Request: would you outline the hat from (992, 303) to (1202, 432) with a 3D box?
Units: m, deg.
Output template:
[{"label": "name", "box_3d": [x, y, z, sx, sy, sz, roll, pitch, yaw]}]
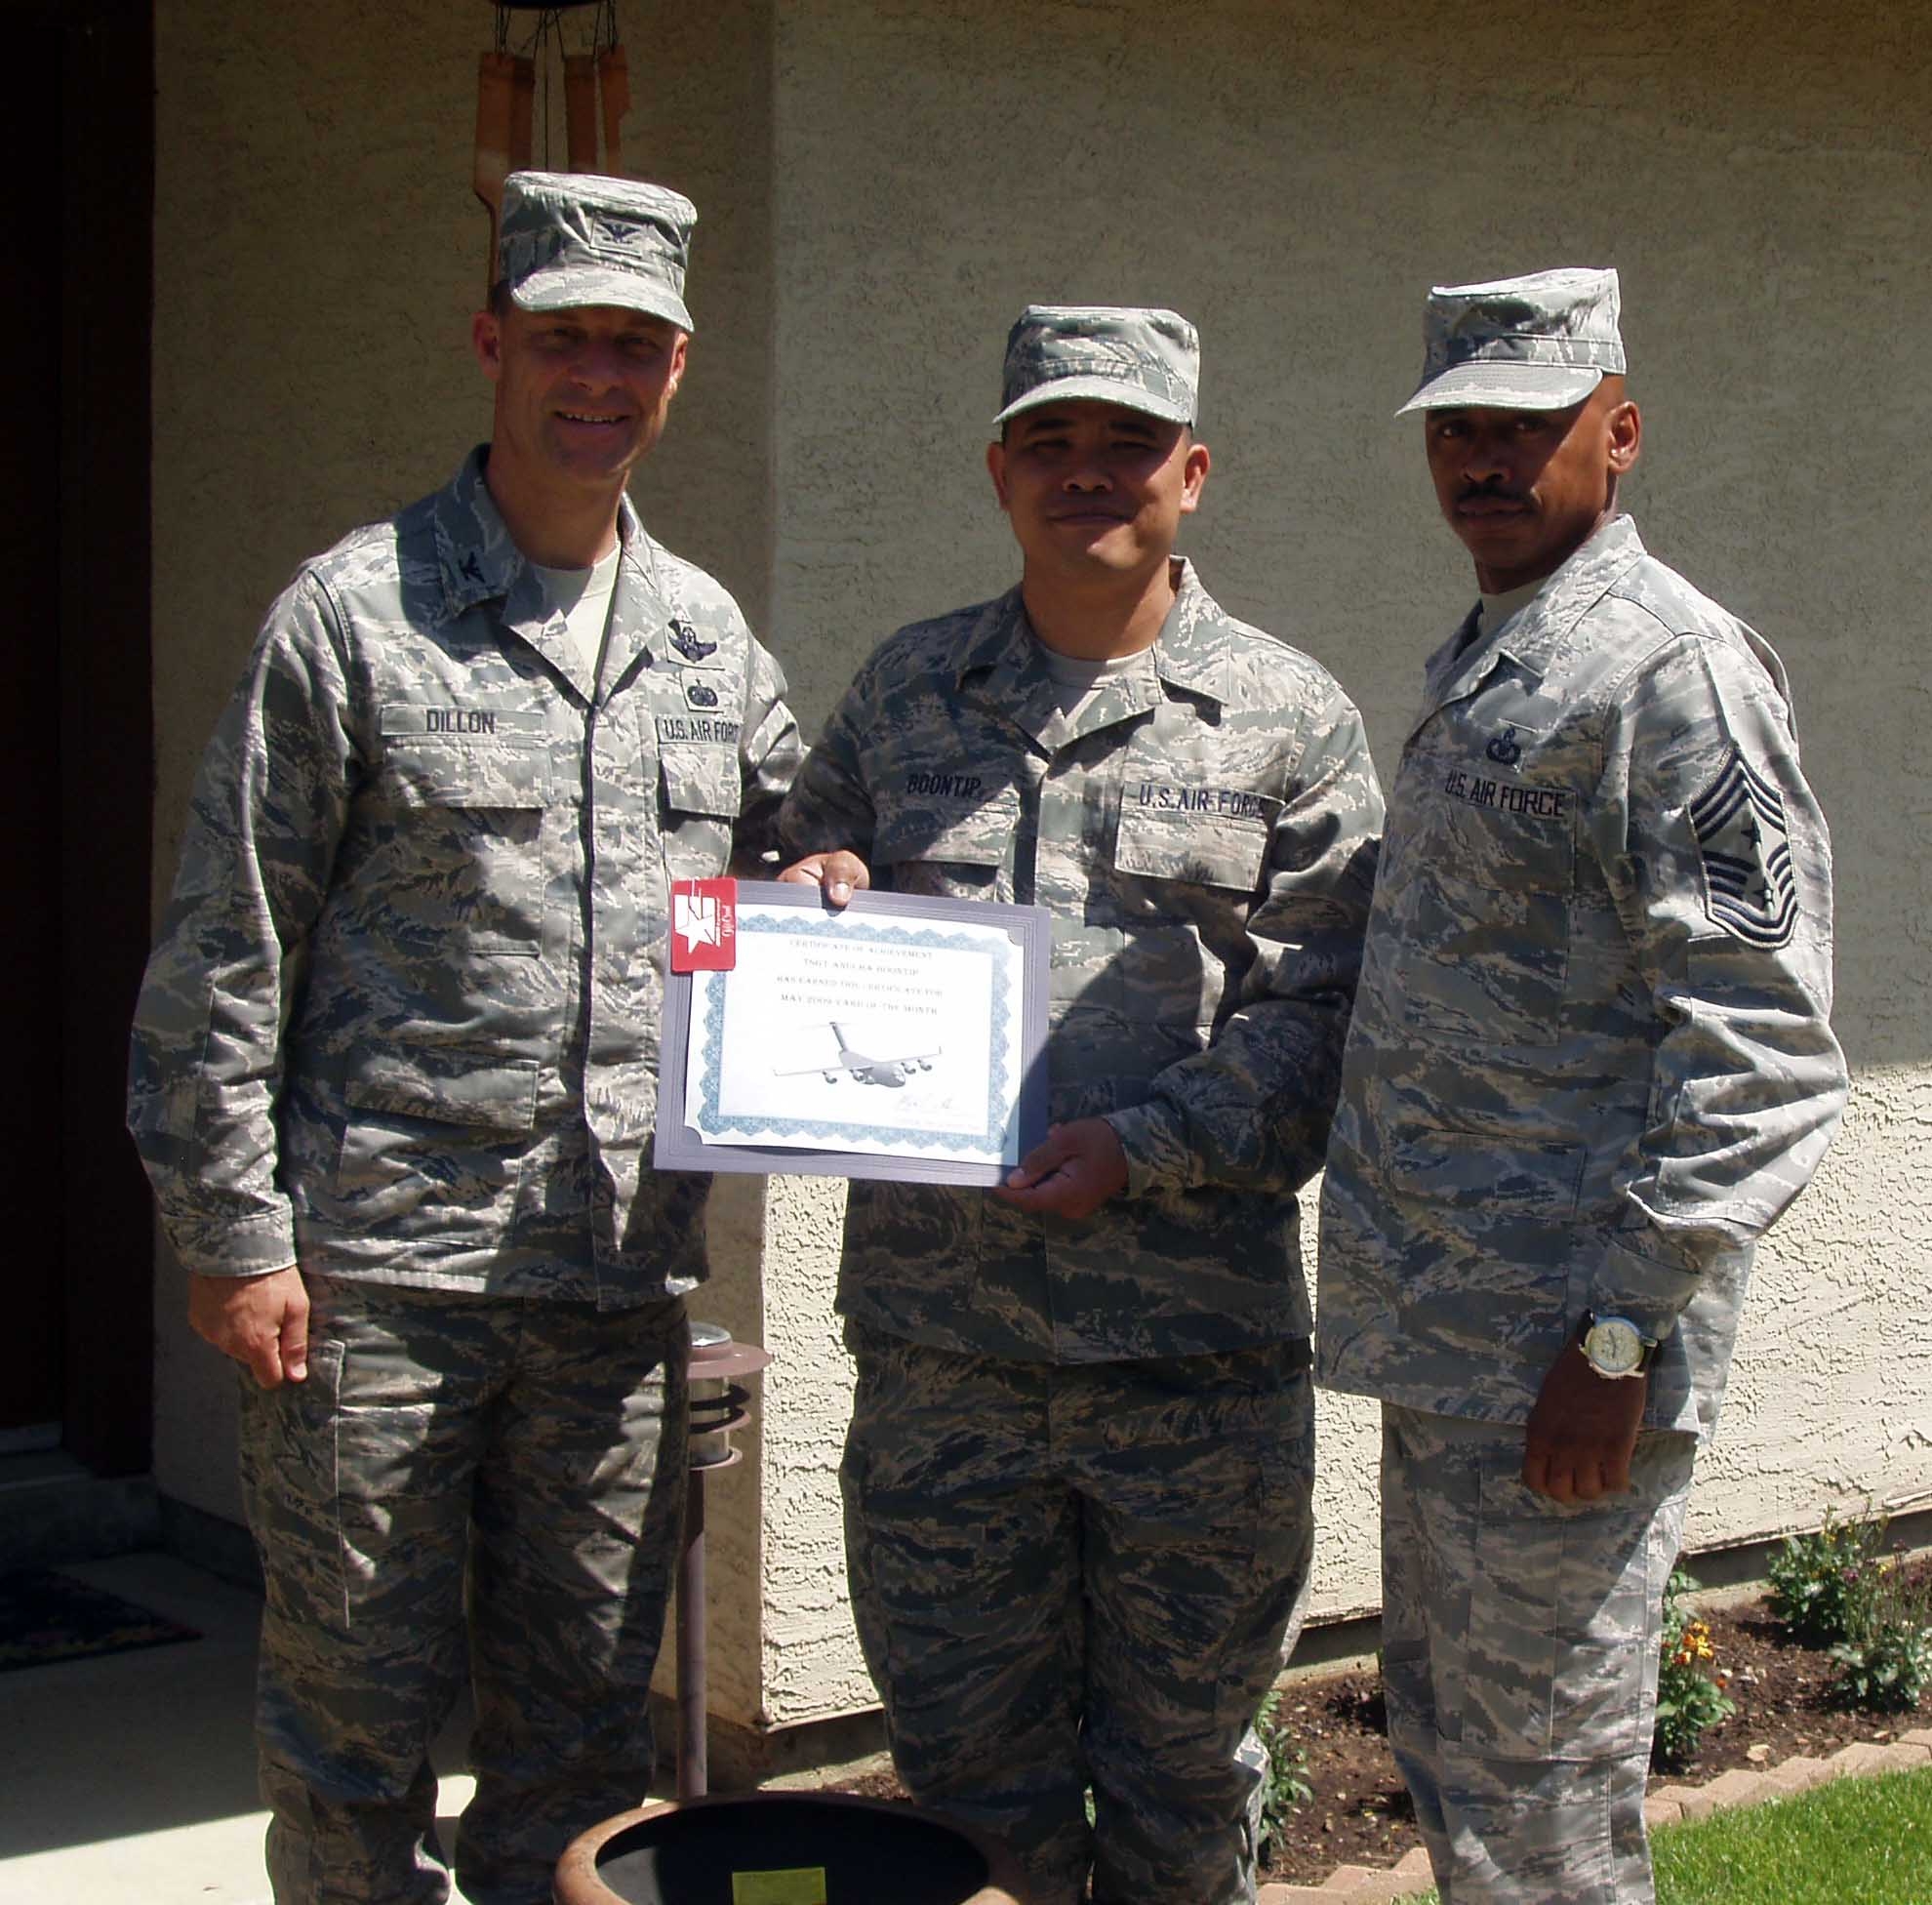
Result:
[{"label": "hat", "box_3d": [0.175, -0.836, 4.709, 0.315, 0.136, 0.363, 5, 24, 14]}]

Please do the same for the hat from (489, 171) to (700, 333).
[{"label": "hat", "box_3d": [-0.535, -1.006, 4.750, 0.302, 0.161, 0.350, -2, 21, -26]}]

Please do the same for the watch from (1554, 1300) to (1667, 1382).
[{"label": "watch", "box_3d": [0.811, 0.496, 4.210, 0.108, 0.098, 0.054, 2, 6, 7]}]

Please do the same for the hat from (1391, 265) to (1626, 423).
[{"label": "hat", "box_3d": [0.736, -0.821, 4.511, 0.291, 0.164, 0.349, 0, 16, 34]}]
